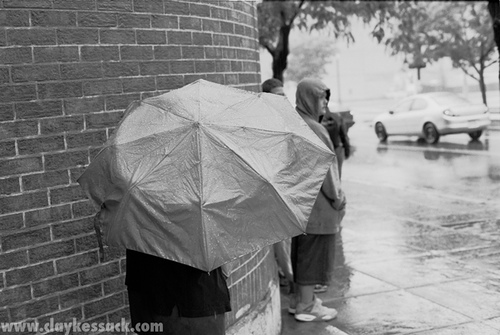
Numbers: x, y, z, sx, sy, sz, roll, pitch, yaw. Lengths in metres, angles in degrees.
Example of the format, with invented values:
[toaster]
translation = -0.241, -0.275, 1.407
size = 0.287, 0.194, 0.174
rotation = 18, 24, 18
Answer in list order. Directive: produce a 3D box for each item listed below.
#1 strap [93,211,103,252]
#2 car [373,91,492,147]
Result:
[strap]
translation = -1.187, 0.497, 4.242
size = 0.050, 0.374, 0.318
rotation = -6, 9, -18
[car]
translation = 5.579, -1.542, 16.633
size = 1.448, 1.260, 3.572
rotation = -11, 16, -17
